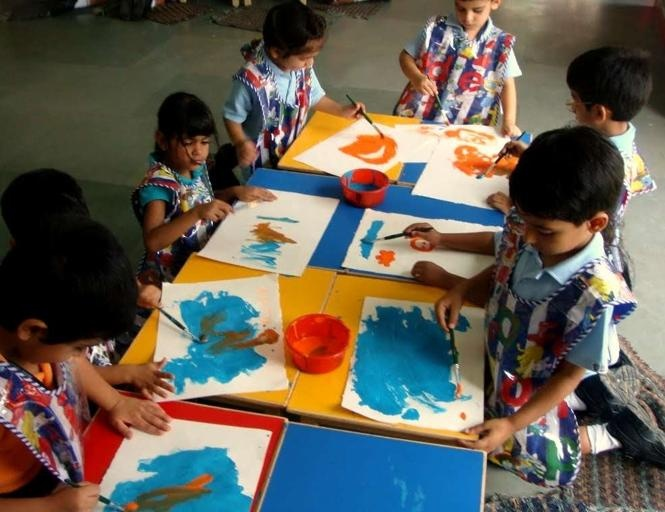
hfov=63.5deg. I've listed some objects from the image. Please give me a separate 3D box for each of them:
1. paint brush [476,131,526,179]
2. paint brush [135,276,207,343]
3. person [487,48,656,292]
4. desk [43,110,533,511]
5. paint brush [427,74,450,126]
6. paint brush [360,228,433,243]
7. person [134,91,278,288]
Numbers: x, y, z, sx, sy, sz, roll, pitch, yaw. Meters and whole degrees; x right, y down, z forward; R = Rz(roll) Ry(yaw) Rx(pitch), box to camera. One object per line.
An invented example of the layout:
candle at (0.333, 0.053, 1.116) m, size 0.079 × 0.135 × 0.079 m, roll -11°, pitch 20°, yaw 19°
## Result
paint brush at (0.703, -0.415, 2.225) m, size 0.276 × 0.150 × 0.068 m, roll -43°, pitch 93°, yaw 4°
paint brush at (-0.467, 0.161, 1.588) m, size 0.064 × 0.060 × 0.241 m, roll -35°, pitch 66°, yaw -24°
person at (1.097, -0.300, 2.493) m, size 0.635 × 1.335 × 0.442 m, roll -11°, pitch 43°, yaw 18°
desk at (-0.084, 0.251, 1.556) m, size 0.862 × 0.336 × 1.387 m, roll 15°, pitch 55°, yaw 9°
paint brush at (0.546, -0.809, 2.779) m, size 0.056 × 0.043 × 0.345 m, roll -17°, pitch 99°, yaw 11°
paint brush at (0.224, -0.068, 1.850) m, size 0.153 × 0.022 × 0.021 m, roll -10°, pitch 74°, yaw -1°
person at (-0.475, -0.250, 2.107) m, size 0.414 × 0.968 × 0.403 m, roll 17°, pitch 50°, yaw 9°
